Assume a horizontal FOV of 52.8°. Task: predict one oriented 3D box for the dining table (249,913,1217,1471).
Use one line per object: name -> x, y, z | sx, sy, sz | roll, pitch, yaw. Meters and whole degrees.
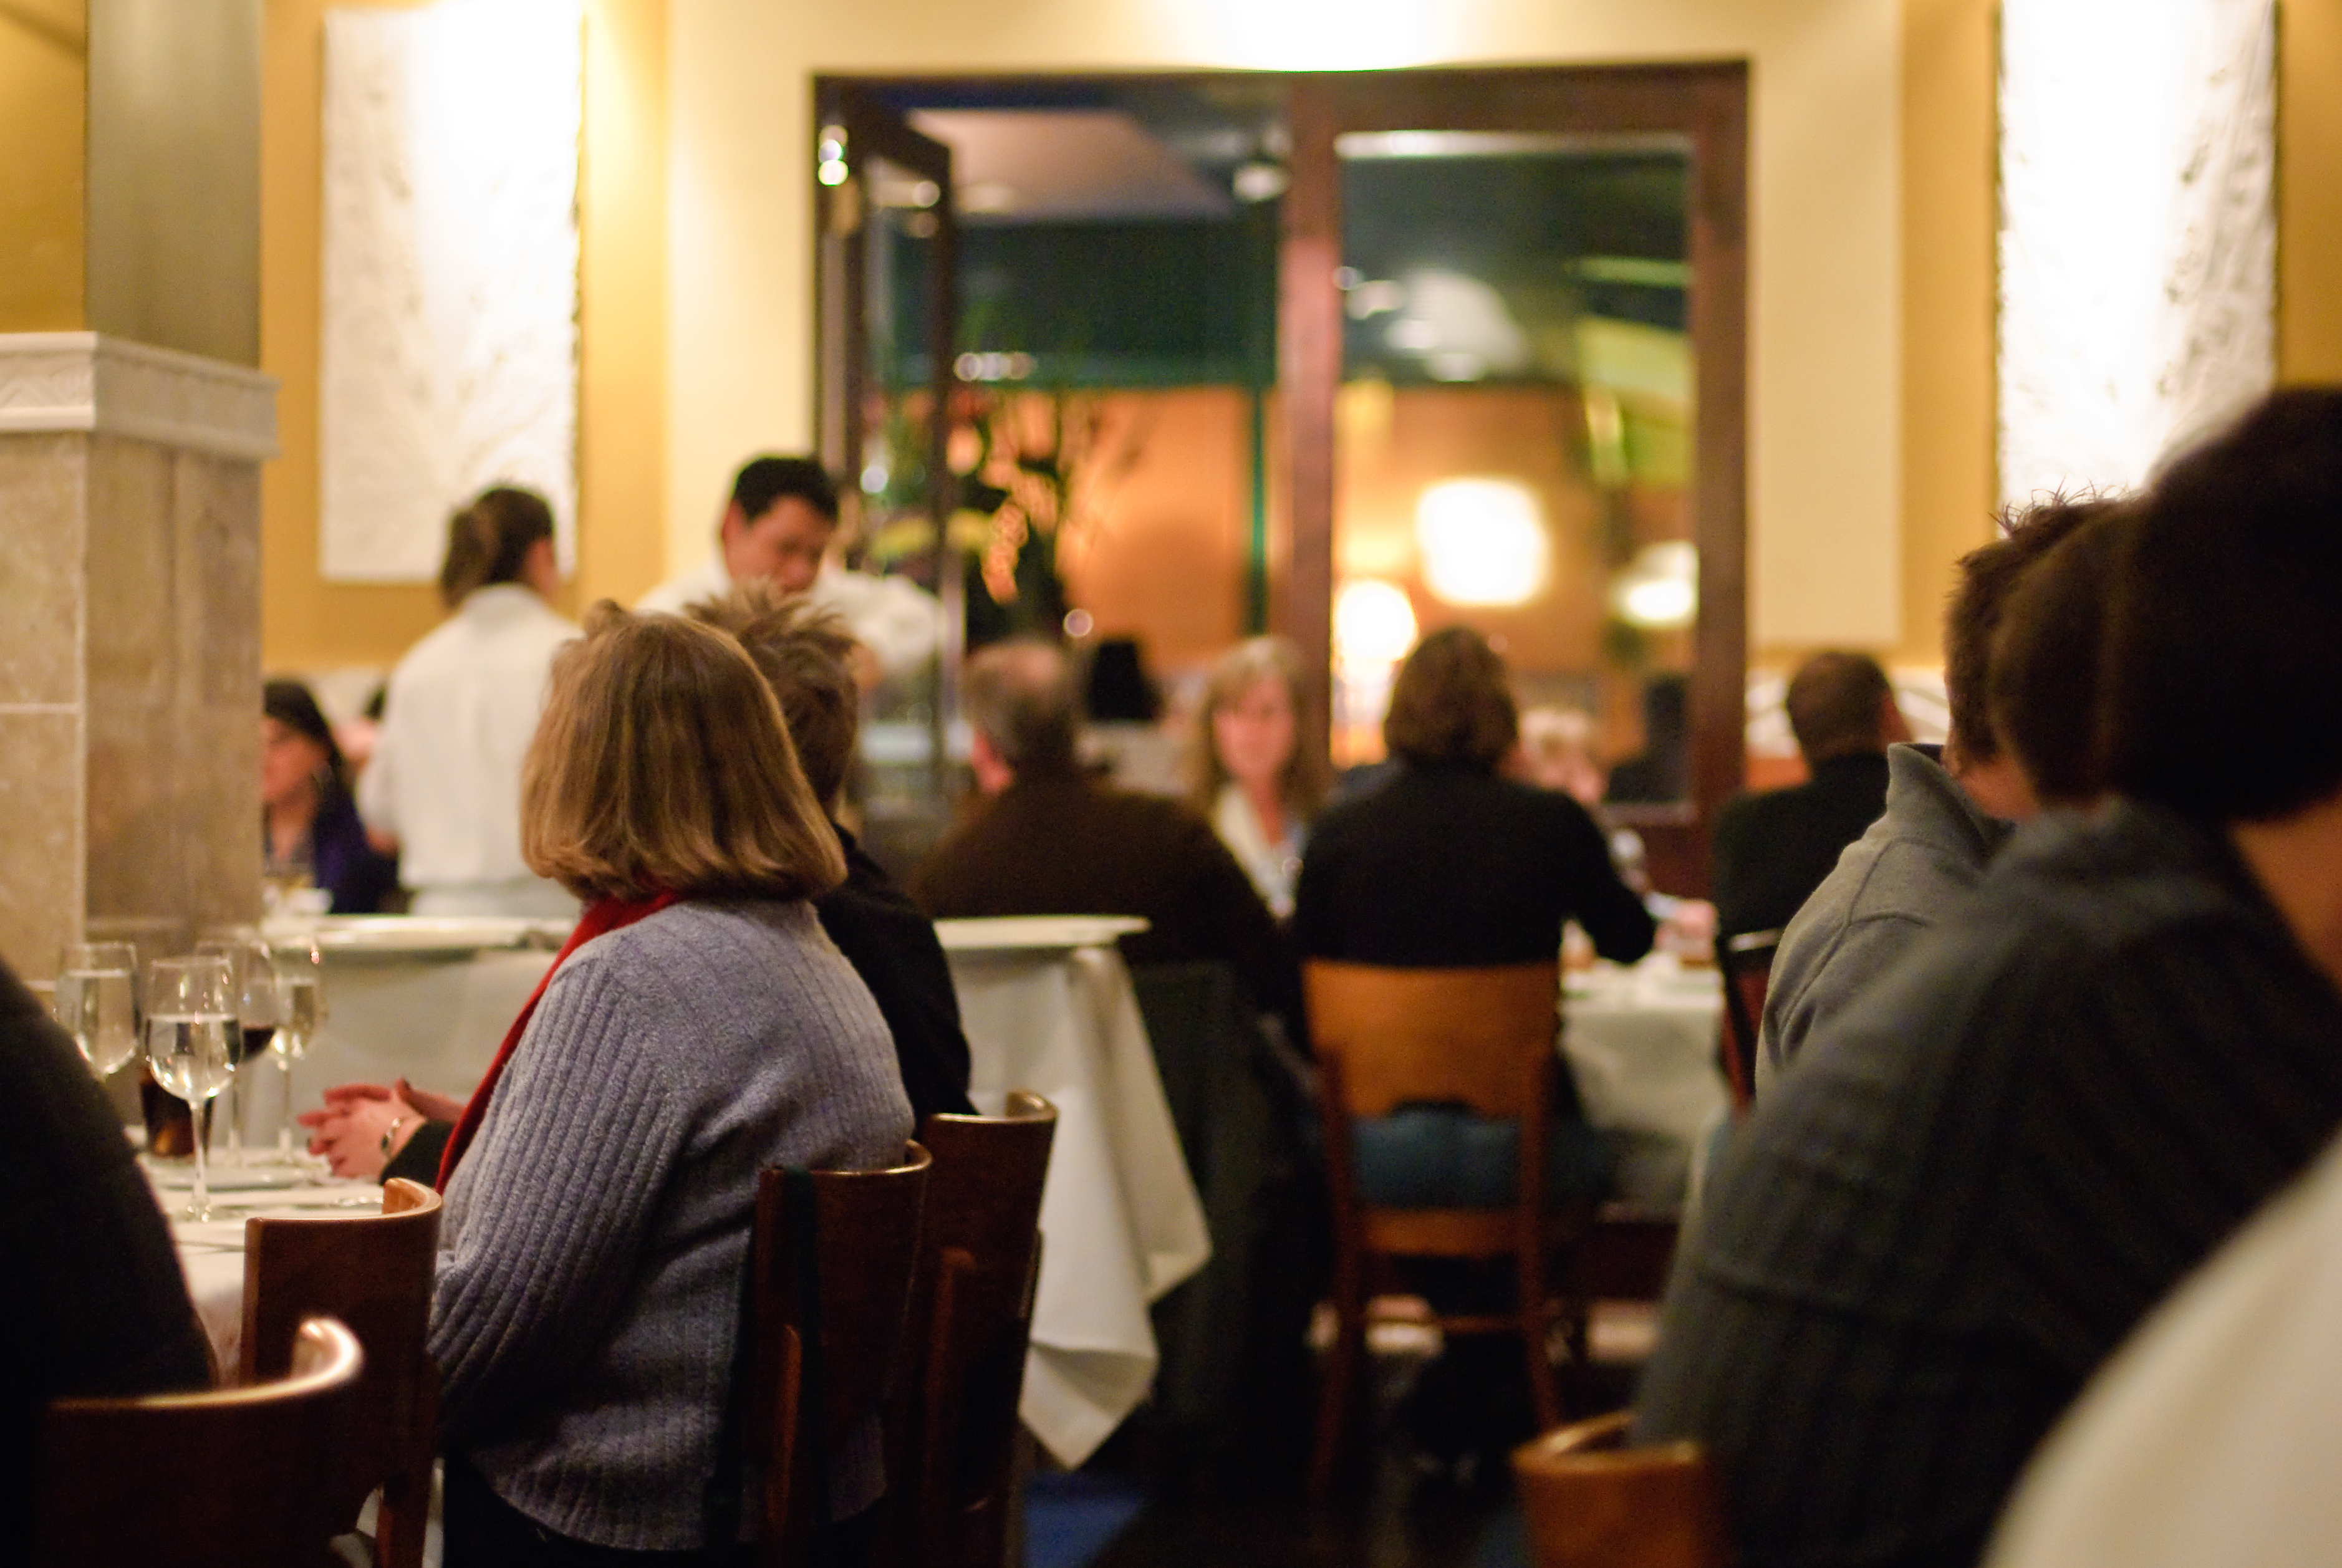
dining table -> -0.525, 0.599, 3.917 | 1.067, 0.589, 1.027 | 1, 2, 2
